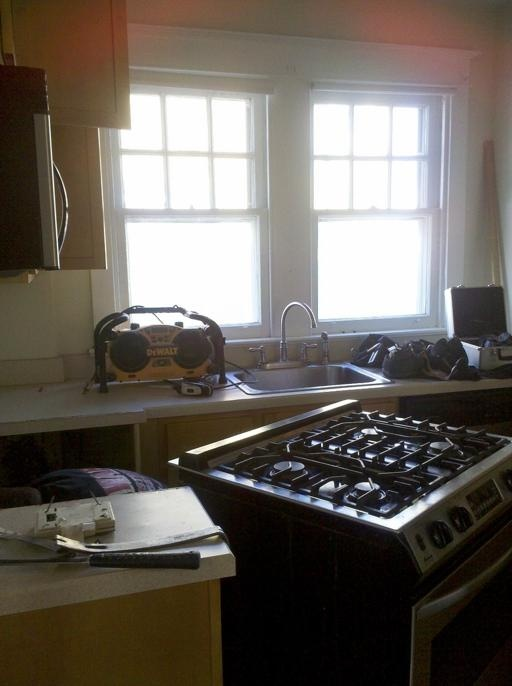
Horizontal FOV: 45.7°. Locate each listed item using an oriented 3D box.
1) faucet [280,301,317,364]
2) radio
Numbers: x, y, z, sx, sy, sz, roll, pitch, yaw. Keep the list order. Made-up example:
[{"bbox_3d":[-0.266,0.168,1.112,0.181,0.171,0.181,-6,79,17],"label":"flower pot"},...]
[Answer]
[{"bbox_3d":[0.191,-0.049,2.759,0.173,0.280,0.540,-1,7,5],"label":"faucet"},{"bbox_3d":[-0.382,0.002,2.449,0.485,0.331,0.331,-3,2,-7],"label":"radio"}]
